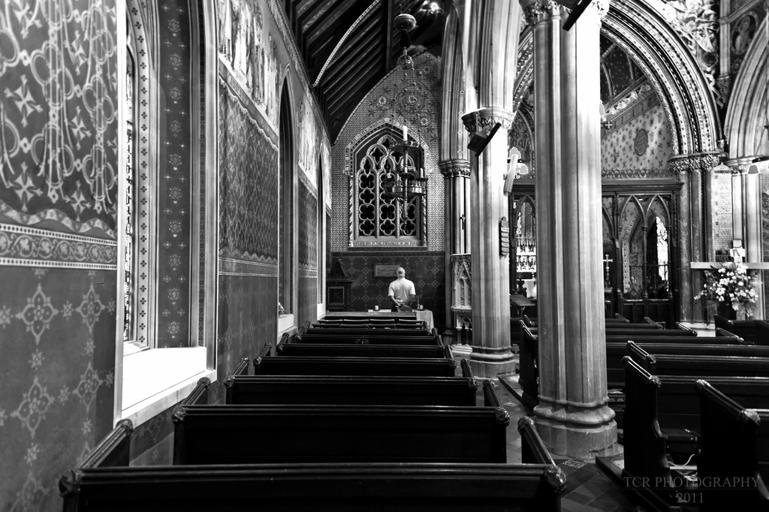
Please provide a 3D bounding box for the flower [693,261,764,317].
[{"bbox_3d":[7.277,0.697,14.115,0.974,1.289,0.983,-2,4,-18],"label":"flower"}]
